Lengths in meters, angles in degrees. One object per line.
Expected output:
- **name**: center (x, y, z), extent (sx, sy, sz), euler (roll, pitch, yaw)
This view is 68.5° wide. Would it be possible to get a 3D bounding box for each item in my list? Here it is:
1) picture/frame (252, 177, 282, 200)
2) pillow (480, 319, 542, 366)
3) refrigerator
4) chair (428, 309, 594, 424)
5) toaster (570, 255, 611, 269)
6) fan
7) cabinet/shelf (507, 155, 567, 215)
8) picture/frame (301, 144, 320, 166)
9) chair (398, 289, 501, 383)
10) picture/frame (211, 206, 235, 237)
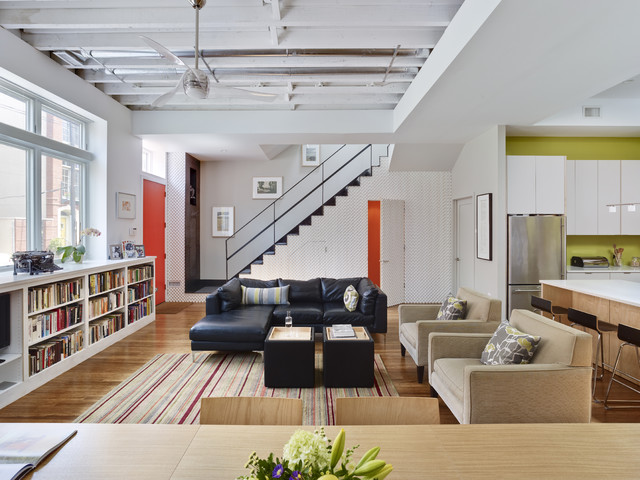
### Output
- **picture/frame**: center (-1.306, -1.286, 11.487), extent (0.634, 0.478, 0.025), euler (0, -2, -4)
- **pillow**: center (1.848, 1.055, 4.602), extent (0.350, 0.397, 0.666), euler (-1, 3, -8)
- **refrigerator**: center (3.508, 0.491, 7.887), extent (1.012, 1.833, 1.031), euler (-1, 8, 17)
- **chair**: center (1.813, 1.203, 4.436), extent (1.266, 0.887, 1.159), euler (0, 7, 5)
- **toaster**: center (4.489, 0.370, 7.764), extent (0.541, 0.173, 0.388), euler (3, 8, 27)
- **fan**: center (-1.426, -1.843, 5.336), extent (1.343, 1.190, 1.363), euler (-2, -1, 41)
- **cabinet/shelf**: center (3.467, -0.859, 7.509), extent (0.897, 0.886, 0.324), euler (1, -2, -1)
- **picture/frame**: center (-0.213, -2.074, 11.564), extent (0.436, 0.498, 0.195), euler (-1, 7, -7)
- **chair**: center (1.593, 1.163, 6.053), extent (1.021, 1.030, 1.376), euler (3, 1, -5)
- **picture/frame**: center (-2.396, -0.438, 11.482), extent (0.530, 0.740, 0.031), euler (-1, -7, -6)
